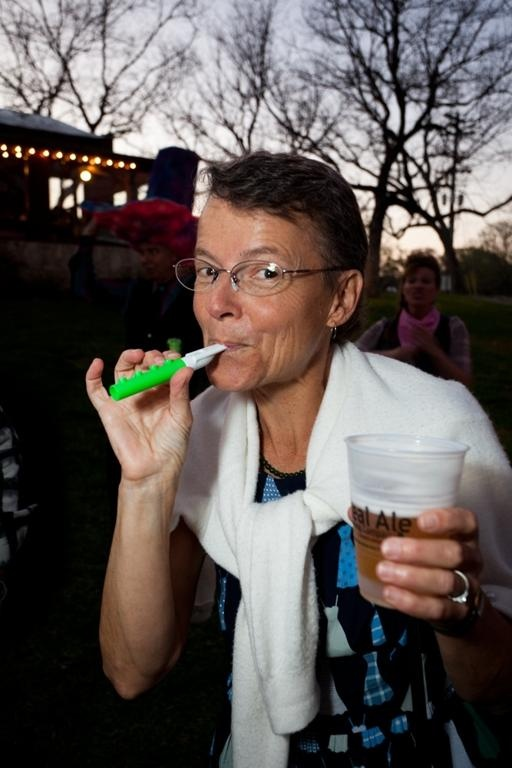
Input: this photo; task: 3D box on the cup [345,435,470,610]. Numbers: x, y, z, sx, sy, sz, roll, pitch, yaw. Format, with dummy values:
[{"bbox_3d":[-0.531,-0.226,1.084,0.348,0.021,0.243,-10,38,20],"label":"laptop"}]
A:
[{"bbox_3d":[0.287,0.247,1.324,0.224,0.292,0.193,2,13,7],"label":"cup"}]
